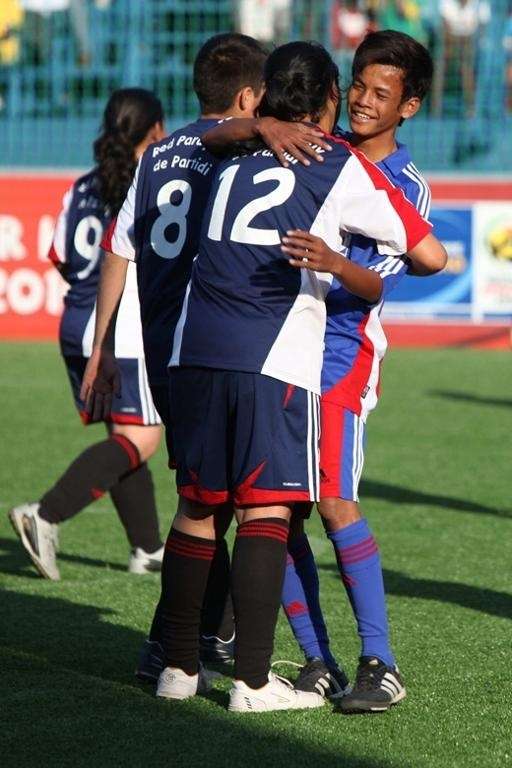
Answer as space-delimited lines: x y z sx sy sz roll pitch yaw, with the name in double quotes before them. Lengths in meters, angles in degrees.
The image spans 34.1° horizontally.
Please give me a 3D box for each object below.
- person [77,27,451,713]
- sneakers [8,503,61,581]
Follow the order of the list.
"person" -0.044 -0.008 1.944 0.383 1.404 0.744 2 0 -45
"sneakers" -0.737 0.543 2.840 0.127 0.253 0.193 2 0 18
